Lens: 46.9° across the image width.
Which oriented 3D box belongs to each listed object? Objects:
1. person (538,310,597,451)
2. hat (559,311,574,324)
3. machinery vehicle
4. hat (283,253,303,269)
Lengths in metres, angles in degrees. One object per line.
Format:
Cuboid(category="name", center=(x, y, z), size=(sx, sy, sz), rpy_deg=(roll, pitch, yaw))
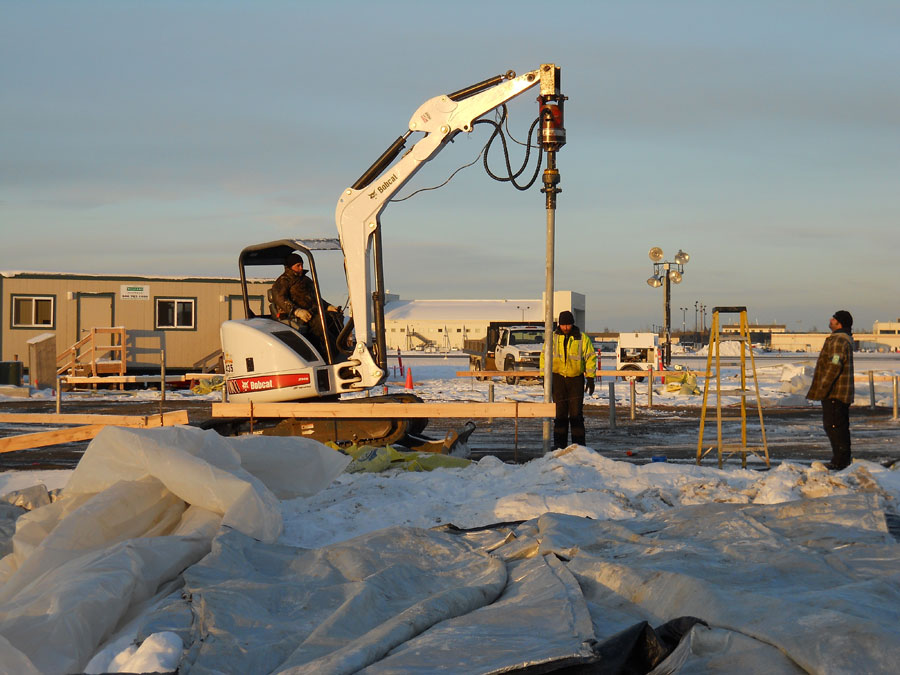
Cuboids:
Cuboid(category="person", center=(1.649, 0.525, 13.857), size=(0.597, 1.778, 0.553), rpy_deg=(-3, 5, 5))
Cuboid(category="hat", center=(1.553, -0.272, 13.906), size=(0.155, 0.170, 0.181), rpy_deg=(14, 10, 6))
Cuboid(category="machinery vehicle", center=(-0.732, -0.911, 13.907), size=(5.275, 4.717, 2.239), rpy_deg=(4, 9, 36))
Cuboid(category="hat", center=(-2.201, -1.082, 14.763), size=(0.208, 0.227, 0.255), rpy_deg=(14, 8, -46))
